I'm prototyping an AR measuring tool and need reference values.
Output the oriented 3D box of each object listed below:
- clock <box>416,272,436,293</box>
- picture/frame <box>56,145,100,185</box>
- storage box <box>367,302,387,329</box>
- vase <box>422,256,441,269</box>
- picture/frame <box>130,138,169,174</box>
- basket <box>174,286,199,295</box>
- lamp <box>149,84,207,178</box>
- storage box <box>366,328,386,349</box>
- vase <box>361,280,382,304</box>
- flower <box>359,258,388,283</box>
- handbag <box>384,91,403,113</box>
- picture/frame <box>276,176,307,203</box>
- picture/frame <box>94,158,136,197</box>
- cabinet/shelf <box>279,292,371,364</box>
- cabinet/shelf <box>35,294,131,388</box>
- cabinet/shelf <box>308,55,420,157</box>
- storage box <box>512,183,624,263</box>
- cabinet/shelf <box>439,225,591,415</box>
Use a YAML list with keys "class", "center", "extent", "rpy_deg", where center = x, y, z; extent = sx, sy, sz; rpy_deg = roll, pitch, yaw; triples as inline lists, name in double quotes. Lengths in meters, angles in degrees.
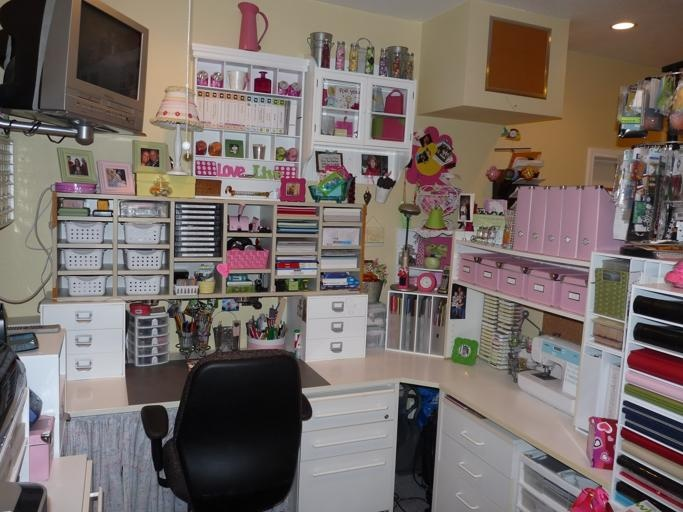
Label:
- class: "clock"
  center: [0.651, 0.183, 3.744]
  extent: [0.210, 0.131, 0.119]
  rpy_deg: [-7, 15, -40]
- class: "picture/frame"
  center: [-1.599, -0.544, 3.151]
  extent: [0.238, 0.281, 0.029]
  rpy_deg: [-9, -2, -45]
- class: "storage box"
  center: [0.270, 0.438, 3.877]
  extent: [0.136, 0.155, 0.195]
  rpy_deg: [0, 1, -4]
- class: "vase"
  center: [0.681, 0.051, 3.884]
  extent: [0.086, 0.086, 0.090]
  rpy_deg: [3, 11, 16]
- class: "picture/frame"
  center: [-1.183, -0.608, 3.210]
  extent: [0.247, 0.284, 0.029]
  rpy_deg: [0, -5, -30]
- class: "basket"
  center: [-0.964, 0.218, 3.266]
  extent: [0.095, 0.043, 0.066]
  rpy_deg: [0, 0, -15]
- class: "lamp"
  center: [-1.007, -0.777, 3.244]
  extent: [0.289, 0.542, 0.511]
  rpy_deg: [0, 11, -15]
- class: "storage box"
  center: [0.255, 0.607, 3.851]
  extent: [0.132, 0.108, 0.138]
  rpy_deg: [0, 3, -13]
- class: "vase"
  center: [0.238, 0.267, 3.880]
  extent: [0.147, 0.146, 0.161]
  rpy_deg: [0, 2, 0]
- class: "flower"
  center: [0.256, 0.122, 3.989]
  extent: [0.165, 0.178, 0.085]
  rpy_deg: [2, 33, -9]
- class: "handbag"
  center: [0.374, -1.112, 3.739]
  extent: [0.143, 0.199, 0.069]
  rpy_deg: [0, 17, -5]
- class: "picture/frame"
  center: [-0.341, -0.453, 3.558]
  extent: [0.195, 0.214, 0.021]
  rpy_deg: [3, -12, -17]
- class: "picture/frame"
  center: [-1.358, -0.463, 3.137]
  extent: [0.235, 0.252, 0.025]
  rpy_deg: [-4, -13, -41]
- class: "cabinet/shelf"
  center: [-0.080, 0.452, 3.626]
  extent: [0.434, 0.455, 0.458]
  rpy_deg: [-1, 1, -23]
- class: "cabinet/shelf"
  center: [-1.532, 0.435, 3.208]
  extent: [0.537, 0.572, 0.422]
  rpy_deg: [-1, 3, -22]
- class: "cabinet/shelf"
  center: [0.141, -1.068, 3.661]
  extent: [0.685, 0.579, 0.261]
  rpy_deg: [1, 4, -20]
- class: "storage box"
  center: [1.300, -0.194, 2.984]
  extent: [0.339, 0.526, 0.673]
  rpy_deg: [0, 2, -30]
- class: "cabinet/shelf"
  center: [1.062, 0.400, 3.190]
  extent: [0.315, 0.794, 1.015]
  rpy_deg: [-2, 10, -20]
